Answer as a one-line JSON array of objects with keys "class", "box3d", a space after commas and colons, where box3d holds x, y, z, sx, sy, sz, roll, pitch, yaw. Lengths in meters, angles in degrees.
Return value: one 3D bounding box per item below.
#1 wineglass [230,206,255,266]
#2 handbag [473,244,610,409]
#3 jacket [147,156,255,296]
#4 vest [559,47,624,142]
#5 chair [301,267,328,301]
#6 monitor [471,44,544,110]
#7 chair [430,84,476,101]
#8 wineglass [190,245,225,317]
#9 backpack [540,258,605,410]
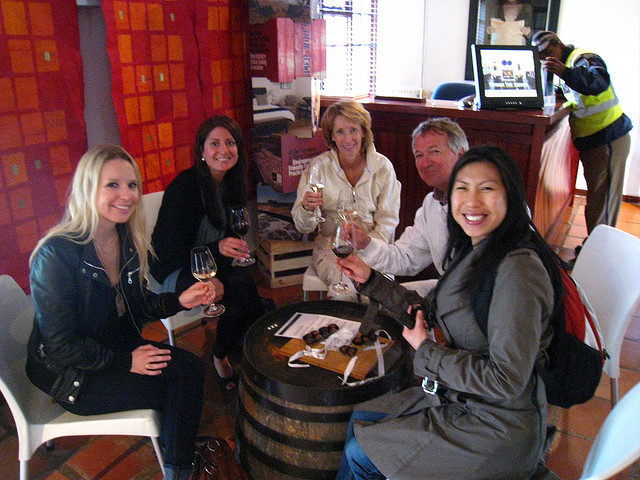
[{"class": "wineglass", "box3d": [-0.414, -0.026, 2.436, 0.101, 0.259, 0.109, -10, -5, 42]}, {"class": "handbag", "box3d": [0.764, 0.265, 1.770, 0.559, 0.551, 0.364, 11, 20, 17]}, {"class": "jacket", "box3d": [-0.690, -0.103, 2.634, 0.450, 0.820, 0.495, 16, 26, 30]}, {"class": "vest", "box3d": [2.297, -1.192, 3.945, 0.478, 0.875, 0.493, 11, 25, 21]}, {"class": "chair", "box3d": [-0.025, 0.271, 2.821, 0.145, 0.158, 0.175, -3, 16, -5]}, {"class": "monitor", "box3d": [1.358, -1.140, 3.168, 0.568, 0.432, 0.215, -6, 17, -15]}, {"class": "chair", "box3d": [1.503, -1.647, 5.023, 0.416, 0.164, 0.236, 3, 17, 16]}, {"class": "wineglass", "box3d": [-0.530, 0.190, 2.185, 0.170, 0.350, 0.194, -1, 23, -21]}, {"class": "backpack", "box3d": [0.852, 0.322, 1.530, 0.217, 0.515, 0.165, 1, 16, 8]}]
